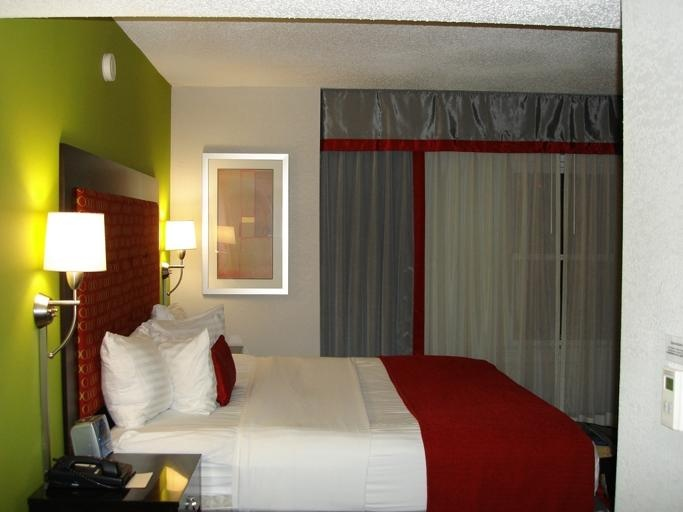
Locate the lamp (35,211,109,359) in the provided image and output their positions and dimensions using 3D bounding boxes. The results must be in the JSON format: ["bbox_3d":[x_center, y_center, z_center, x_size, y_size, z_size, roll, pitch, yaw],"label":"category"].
[{"bbox_3d":[-1.426,0.164,3.009,0.386,0.801,0.276,5,11,20],"label":"lamp"}]
